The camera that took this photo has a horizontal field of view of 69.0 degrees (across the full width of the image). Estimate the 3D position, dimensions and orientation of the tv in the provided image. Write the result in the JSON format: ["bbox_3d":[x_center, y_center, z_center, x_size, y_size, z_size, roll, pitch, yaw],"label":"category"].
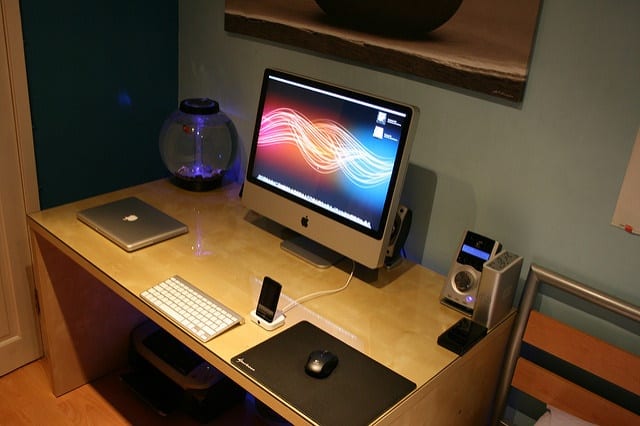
[{"bbox_3d":[0.063,-0.169,1.895,0.661,0.626,0.233,26,36,27],"label":"tv"}]

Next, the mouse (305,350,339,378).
[{"bbox_3d":[0.008,0.491,1.543,0.095,0.043,0.137,7,15,23],"label":"mouse"}]

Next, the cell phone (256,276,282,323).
[{"bbox_3d":[-0.184,0.318,1.675,0.108,0.188,0.019,22,16,33],"label":"cell phone"}]

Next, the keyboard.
[{"bbox_3d":[-0.457,0.347,1.671,0.350,0.036,0.162,27,37,35],"label":"keyboard"}]

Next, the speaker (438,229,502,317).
[{"bbox_3d":[0.603,0.237,1.824,0.157,0.300,0.157,5,13,-42],"label":"speaker"}]
